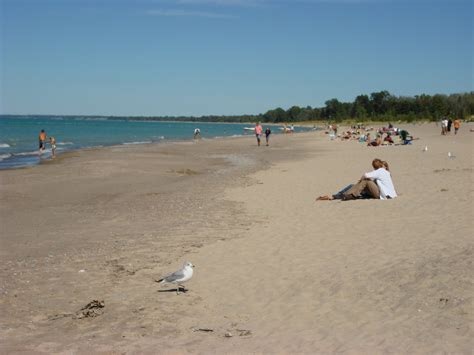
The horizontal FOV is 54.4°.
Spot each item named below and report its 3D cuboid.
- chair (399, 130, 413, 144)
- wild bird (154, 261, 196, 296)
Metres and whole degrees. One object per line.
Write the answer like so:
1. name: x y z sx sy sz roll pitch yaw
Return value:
1. chair: 14.758 -3.655 40.383 0.981 1.066 4.753 4 14 19
2. wild bird: -1.343 1.944 9.158 1.104 0.706 0.423 1 5 -7
